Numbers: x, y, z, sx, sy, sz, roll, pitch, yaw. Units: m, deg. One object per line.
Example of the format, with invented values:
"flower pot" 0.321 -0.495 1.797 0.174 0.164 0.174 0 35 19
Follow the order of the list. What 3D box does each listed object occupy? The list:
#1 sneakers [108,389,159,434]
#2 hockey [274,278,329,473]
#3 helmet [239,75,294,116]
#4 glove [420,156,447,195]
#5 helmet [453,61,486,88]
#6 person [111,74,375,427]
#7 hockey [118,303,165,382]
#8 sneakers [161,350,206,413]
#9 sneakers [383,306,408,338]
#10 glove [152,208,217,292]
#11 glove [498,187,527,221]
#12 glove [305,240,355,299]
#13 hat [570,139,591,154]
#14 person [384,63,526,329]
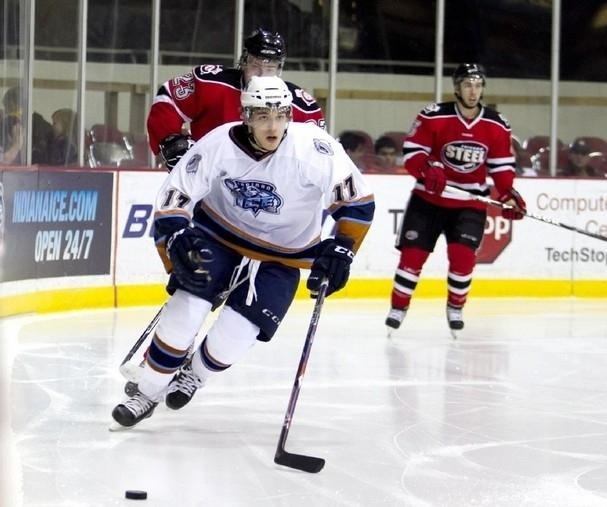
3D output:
"sneakers" -0.642 0.589 3.086 0.096 0.100 0.273 26 7 14
"hockey" 0.068 0.403 2.822 0.166 0.699 0.029 13 -12 10
"helmet" -0.118 -0.553 2.967 0.183 0.193 0.207 -5 0 -2
"glove" 0.800 -0.473 4.944 0.146 0.199 0.088 2 -8 -2
"helmet" 1.035 -1.116 5.041 0.169 0.157 0.137 -4 3 28
"person" -0.224 0.026 3.060 0.802 1.310 0.761 11 0 -30
"hockey" -0.720 0.368 3.770 0.070 0.328 0.326 -13 40 22
"sneakers" -0.471 0.510 3.133 0.097 0.103 0.265 41 35 -15
"sneakers" 0.584 0.417 5.076 0.115 0.160 0.311 2 6 6
"glove" -0.387 -0.045 2.908 0.183 0.317 0.116 -10 24 42
"glove" 1.333 -0.304 5.100 0.149 0.202 0.100 8 39 30
"glove" 0.099 0.100 2.982 0.142 0.089 0.240 8 -6 18
"hat" 2.551 -0.986 7.409 0.159 0.153 0.161 2 -2 27
"person" 0.973 -0.345 5.087 0.846 1.666 0.507 2 6 4
